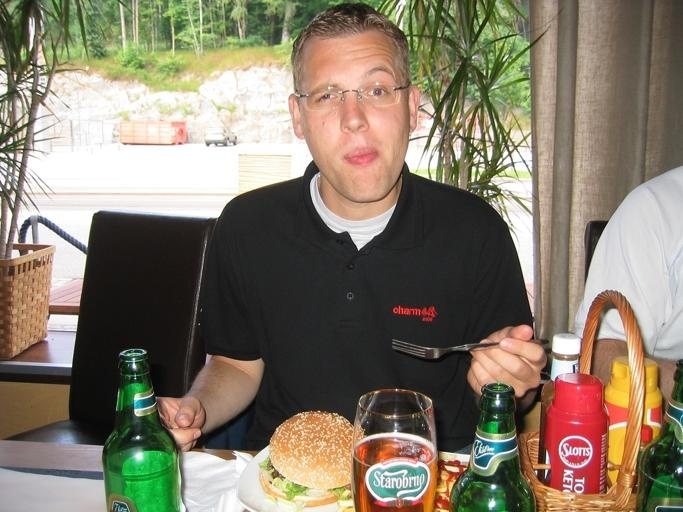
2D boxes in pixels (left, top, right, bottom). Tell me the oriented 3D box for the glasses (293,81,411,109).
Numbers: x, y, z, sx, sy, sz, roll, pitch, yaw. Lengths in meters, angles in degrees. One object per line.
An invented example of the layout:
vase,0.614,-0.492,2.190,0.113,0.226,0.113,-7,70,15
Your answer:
glasses,0.036,-0.444,1.567,0.306,0.070,0.085,-1,9,-1
